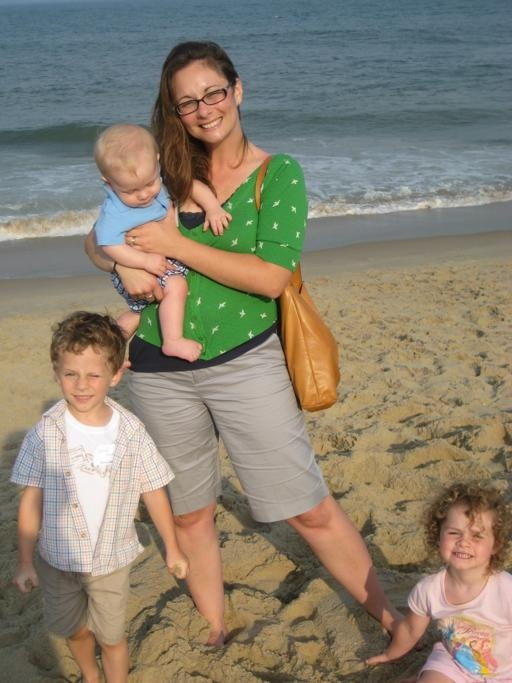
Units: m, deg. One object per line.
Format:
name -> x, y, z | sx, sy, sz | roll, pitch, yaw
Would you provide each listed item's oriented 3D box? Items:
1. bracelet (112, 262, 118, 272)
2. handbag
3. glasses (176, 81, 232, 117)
bracelet -> -0.537, -0.281, 2.538 | 0.029, 0.033, 0.009 | -4, 0, 29
handbag -> 0.193, -0.004, 2.450 | 0.204, 0.539, 0.275 | -5, 14, 6
glasses -> -0.184, -0.840, 2.342 | 0.196, 0.094, 0.081 | -4, 14, 1
